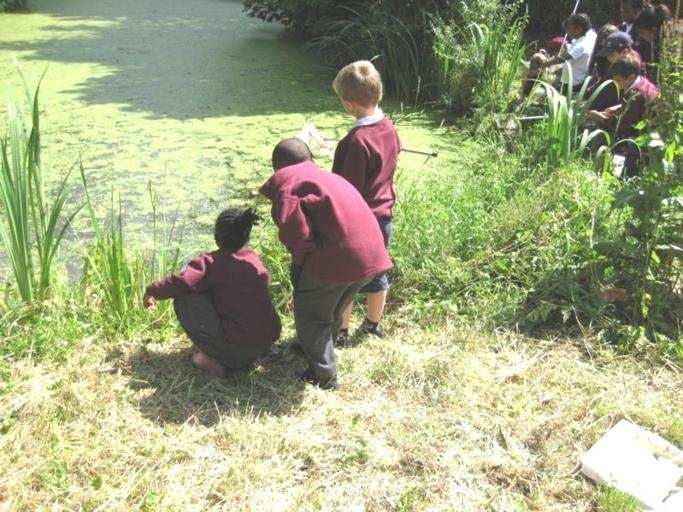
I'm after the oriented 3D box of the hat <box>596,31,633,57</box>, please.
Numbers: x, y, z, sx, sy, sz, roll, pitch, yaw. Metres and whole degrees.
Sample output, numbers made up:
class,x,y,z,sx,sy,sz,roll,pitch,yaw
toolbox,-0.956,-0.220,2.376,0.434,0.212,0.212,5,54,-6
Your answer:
class,x,y,z,sx,sy,sz,roll,pitch,yaw
hat,2.349,-1.800,5.466,0.188,0.152,0.255,-41,26,-22

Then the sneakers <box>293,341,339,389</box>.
class,x,y,z,sx,sy,sz,roll,pitch,yaw
sneakers,-0.135,0.609,3.487,0.231,0.165,0.084,38,78,30

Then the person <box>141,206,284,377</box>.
class,x,y,z,sx,sy,sz,roll,pitch,yaw
person,-0.691,0.162,3.629,0.752,0.936,0.685,-1,9,-42
